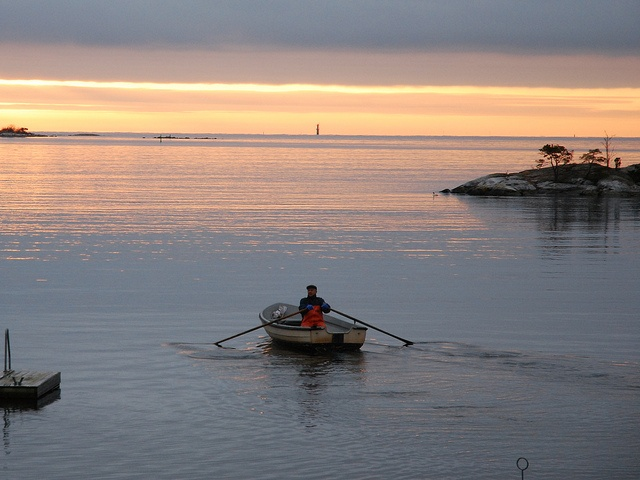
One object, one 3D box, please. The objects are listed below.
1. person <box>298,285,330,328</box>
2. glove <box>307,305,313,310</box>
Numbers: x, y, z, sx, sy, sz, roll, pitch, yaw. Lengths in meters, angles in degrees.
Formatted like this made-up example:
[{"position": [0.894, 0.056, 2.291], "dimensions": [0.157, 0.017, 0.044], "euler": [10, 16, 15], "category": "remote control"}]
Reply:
[{"position": [-0.331, 2.629, 61.315], "dimensions": [1.168, 1.695, 1.363], "euler": [0, -2, -13], "category": "person"}, {"position": [-0.502, 2.656, 61.287], "dimensions": [0.212, 0.177, 0.119], "euler": [-1, -2, 12], "category": "glove"}]
